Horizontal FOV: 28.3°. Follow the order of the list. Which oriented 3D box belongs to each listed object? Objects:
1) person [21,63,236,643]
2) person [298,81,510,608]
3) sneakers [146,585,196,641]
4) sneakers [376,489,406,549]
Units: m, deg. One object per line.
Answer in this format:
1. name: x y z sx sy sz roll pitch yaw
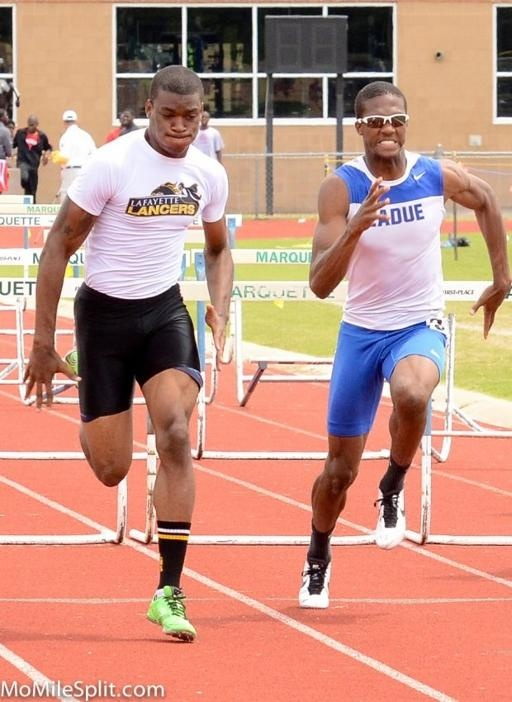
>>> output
1. person: -0.419 -0.048 3.439 0.660 1.851 0.870 1 2 -2
2. person: 0.498 -0.044 3.719 0.590 1.930 0.842 1 2 13
3. sneakers: -0.254 0.794 3.117 0.087 0.107 0.246 17 0 -33
4. sneakers: 0.501 0.634 3.778 0.087 0.259 0.113 -3 -29 15
